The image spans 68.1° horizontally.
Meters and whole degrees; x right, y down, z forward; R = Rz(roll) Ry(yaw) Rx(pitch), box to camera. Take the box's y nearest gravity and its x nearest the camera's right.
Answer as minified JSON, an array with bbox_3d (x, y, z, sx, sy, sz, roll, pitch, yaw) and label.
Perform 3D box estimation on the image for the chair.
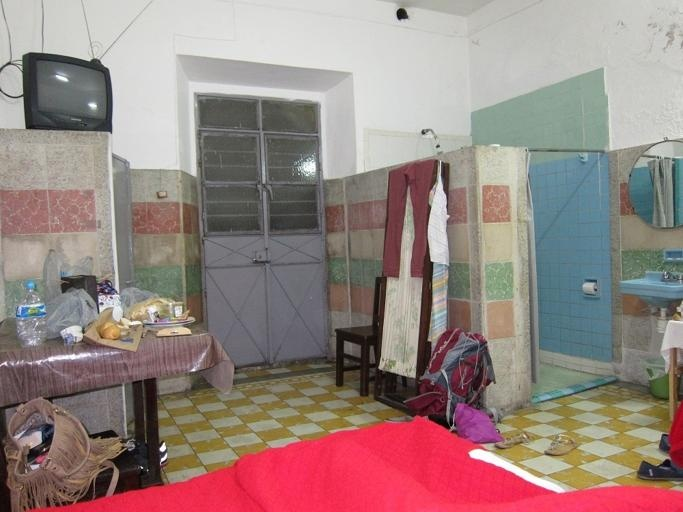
[{"bbox_3d":[0.234,0.868,5.886,0.675,1.344,1.201,-4,5,-9],"label":"chair"}]

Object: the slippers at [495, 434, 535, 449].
[{"bbox_3d":[1.418,1.550,4.150,0.290,0.122,0.111,-6,-14,-18],"label":"slippers"}]

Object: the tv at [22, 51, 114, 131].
[{"bbox_3d":[-2.193,-1.307,4.077,0.639,0.637,0.368,-6,5,-29],"label":"tv"}]

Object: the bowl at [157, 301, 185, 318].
[{"bbox_3d":[-1.199,0.373,3.529,0.120,0.088,0.122,1,2,0],"label":"bowl"}]

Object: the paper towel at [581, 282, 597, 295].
[{"bbox_3d":[2.798,0.362,5.713,0.143,0.144,0.135,-1,1,43],"label":"paper towel"}]

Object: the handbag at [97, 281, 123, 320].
[{"bbox_3d":[-1.598,0.307,3.482,0.158,0.238,0.658,-5,5,-24],"label":"handbag"}]
